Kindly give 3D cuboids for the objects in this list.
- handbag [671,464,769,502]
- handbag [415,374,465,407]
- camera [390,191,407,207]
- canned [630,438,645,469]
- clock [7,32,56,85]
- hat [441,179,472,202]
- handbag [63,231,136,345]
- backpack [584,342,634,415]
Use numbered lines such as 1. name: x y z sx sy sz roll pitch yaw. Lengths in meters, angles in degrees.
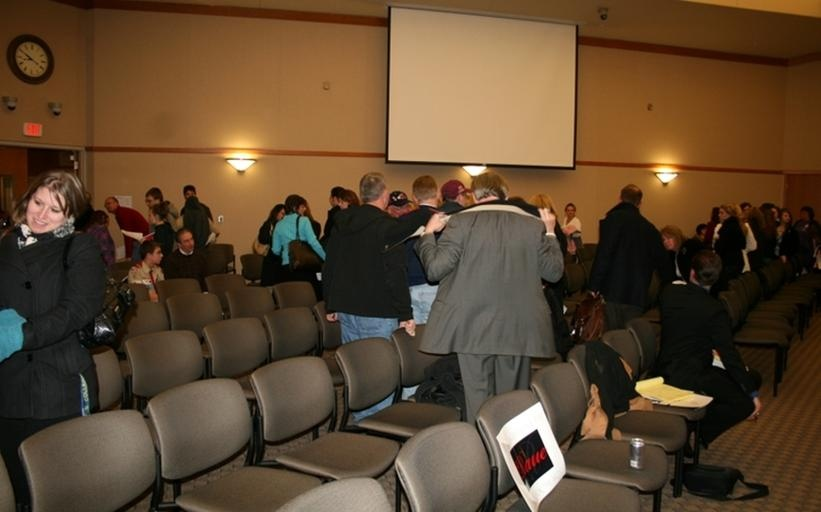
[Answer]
1. handbag: 2.584 1.844 5.202 0.475 0.164 0.368 -2 -2 35
2. handbag: 0.258 1.142 5.327 0.341 0.133 0.274 -2 -5 27
3. camera: -0.123 -0.583 6.420 0.123 0.074 0.186 -7 18 -2
4. canned: 1.656 1.453 4.604 0.083 0.212 0.115 -4 8 -43
5. clock: -6.489 -3.367 10.694 0.064 0.827 0.788 5 7 27
6. hat: 0.440 -0.590 5.786 0.193 0.172 0.321 8 17 40
7. handbag: -2.138 0.263 4.464 0.383 0.806 0.868 0 6 -11
8. backpack: 1.590 1.029 5.255 0.437 0.589 0.187 -5 -9 -33
